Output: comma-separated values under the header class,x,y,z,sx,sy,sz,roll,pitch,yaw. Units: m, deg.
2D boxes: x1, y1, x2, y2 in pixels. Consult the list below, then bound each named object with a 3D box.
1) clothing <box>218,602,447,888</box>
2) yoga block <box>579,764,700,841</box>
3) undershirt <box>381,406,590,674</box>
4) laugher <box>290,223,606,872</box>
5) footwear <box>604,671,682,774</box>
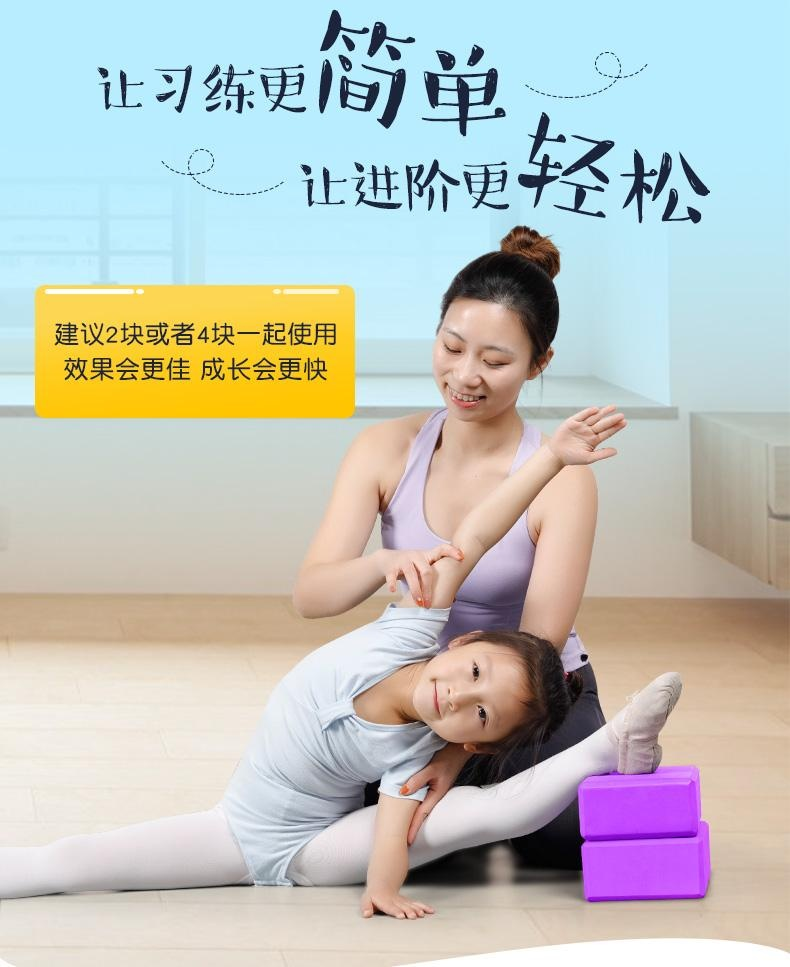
class,x,y,z,sx,sy,sz,roll,pitch,yaw
clothing,-0.089,0.401,1.414,0.156,0.380,0.291,21,29,-55
yoga block,0.337,0.439,1.391,0.181,0.087,0.159,1,5,9
undershirt,0.119,0.076,1.585,0.324,0.387,0.245,-3,11,-13
laugher,0.138,0.115,1.648,0.725,0.997,0.466,1,9,1
footwear,0.342,0.337,1.335,0.100,0.146,0.066,2,13,0
